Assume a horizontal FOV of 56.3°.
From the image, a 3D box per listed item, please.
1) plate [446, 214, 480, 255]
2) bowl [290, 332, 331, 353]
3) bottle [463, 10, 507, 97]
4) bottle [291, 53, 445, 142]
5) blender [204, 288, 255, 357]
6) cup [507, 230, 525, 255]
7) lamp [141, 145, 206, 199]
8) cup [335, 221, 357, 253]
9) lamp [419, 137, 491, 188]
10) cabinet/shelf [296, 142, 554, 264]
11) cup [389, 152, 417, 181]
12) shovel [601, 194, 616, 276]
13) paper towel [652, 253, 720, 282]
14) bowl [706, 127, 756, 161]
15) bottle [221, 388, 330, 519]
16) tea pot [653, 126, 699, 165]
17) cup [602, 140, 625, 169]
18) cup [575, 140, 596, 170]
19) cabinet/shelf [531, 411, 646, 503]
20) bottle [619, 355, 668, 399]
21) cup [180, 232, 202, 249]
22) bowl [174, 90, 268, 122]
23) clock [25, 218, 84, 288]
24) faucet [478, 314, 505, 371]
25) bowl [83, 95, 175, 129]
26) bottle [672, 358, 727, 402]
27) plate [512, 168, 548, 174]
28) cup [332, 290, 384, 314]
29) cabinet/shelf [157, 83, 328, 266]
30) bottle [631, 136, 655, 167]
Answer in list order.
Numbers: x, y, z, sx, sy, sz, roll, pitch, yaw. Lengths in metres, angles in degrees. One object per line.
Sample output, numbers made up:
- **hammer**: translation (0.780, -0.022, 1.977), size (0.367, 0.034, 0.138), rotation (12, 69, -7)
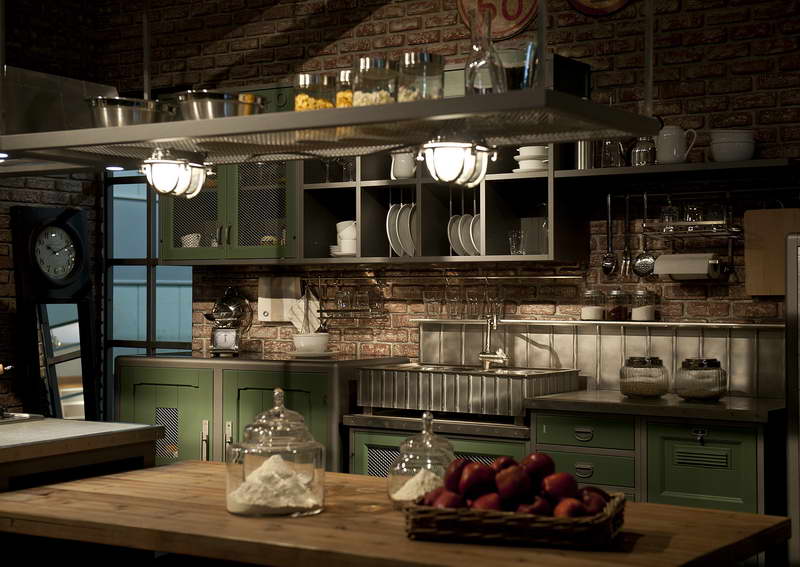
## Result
- **plate**: translation (0.388, -0.295, 4.490), size (0.191, 0.244, 0.299), rotation (0, 5, 6)
- **bowl**: translation (-0.583, 0.369, 4.831), size (0.153, 0.092, 0.146), rotation (1, -2, 0)
- **bottle**: translation (0.273, -0.735, 2.373), size (0.130, 0.305, 0.308), rotation (0, 5, 5)
- **bottle**: translation (-0.115, -0.623, 2.488), size (0.535, 0.252, 0.257), rotation (1, 5, 15)
- **blender**: translation (-1.231, 0.265, 5.248), size (0.310, 0.464, 0.250), rotation (3, 2, 1)
- **cup**: translation (0.667, -0.237, 4.328), size (0.107, 0.132, 0.092), rotation (2, 5, 25)
- **lamp**: translation (-0.852, -0.420, 2.813), size (0.235, 0.176, 0.145), rotation (-2, 5, -20)
- **cup**: translation (-0.342, -0.305, 4.798), size (0.131, 0.199, 0.208), rotation (-1, 0, -15)
- **lamp**: translation (0.196, -0.404, 2.493), size (0.229, 0.155, 0.247), rotation (1, 5, 7)
- **cabinet/shelf**: translation (0.175, -0.565, 4.811), size (1.608, 0.923, 0.423), rotation (-1, -5, 17)
- **cup**: translation (-0.009, -0.715, 4.611), size (0.136, 0.165, 0.294), rotation (-3, 6, -31)
- **shovel**: translation (1.215, -0.265, 4.332), size (0.103, 0.453, 0.067), rotation (8, 25, 32)
- **paper towel**: translation (1.584, -0.097, 4.143), size (0.338, 0.138, 0.143), rotation (1, 5, 17)
- **bowl**: translation (1.733, -0.703, 3.906), size (0.202, 0.143, 0.191), rotation (0, -2, 0)
- **bottle**: translation (-0.361, 0.546, 2.318), size (0.292, 0.326, 0.293), rotation (0, -5, 3)
- **tea pot**: translation (1.505, -0.753, 4.091), size (0.186, 0.221, 0.421), rotation (3, 5, 29)
- **cup**: translation (1.185, -0.721, 4.168), size (0.123, 0.169, 0.388), rotation (1, 5, 15)
- **cup**: translation (1.055, -0.725, 4.237), size (0.116, 0.178, 0.361), rotation (1, 5, 14)
- **cabinet/shelf**: translation (0.863, 0.760, 3.283), size (0.549, 0.503, 0.228), rotation (-1, -4, 24)
- **bottle**: translation (1.276, 0.491, 3.903), size (0.219, 0.178, 0.218), rotation (0, -1, 15)
- **cup**: translation (-1.453, -0.298, 5.160), size (0.120, 0.089, 0.099), rotation (-1, -2, 27)
- **bowl**: translation (-0.653, -0.638, 2.672), size (0.317, 0.097, 0.100), rotation (1, 5, 16)
- **clock**: translation (-2.517, -0.226, 5.457), size (0.087, 0.494, 0.432), rotation (2, 5, 21)
- **faucet**: translation (0.554, 0.362, 4.449), size (0.173, 0.325, 0.484), rotation (0, 5, 7)
- **bowl**: translation (-0.989, -0.631, 2.740), size (0.308, 0.130, 0.182), rotation (-1, 5, -14)
- **bottle**: translation (1.527, 0.480, 3.810), size (0.223, 0.195, 0.222), rotation (0, -3, 4)
- **plate**: translation (0.737, -0.640, 4.247), size (0.184, 0.039, 0.074), rotation (1, 5, 11)
- **cup**: translation (-0.266, 0.120, 4.989), size (0.286, 0.121, 0.163), rotation (-1, -2, 40)
- **cabinet/shelf**: translation (-1.187, -0.508, 5.169), size (0.899, 0.865, 0.343), rotation (-2, -19, -6)
- **bottle**: translation (1.319, -0.719, 4.052), size (0.124, 0.151, 0.155), rotation (2, 5, 18)
